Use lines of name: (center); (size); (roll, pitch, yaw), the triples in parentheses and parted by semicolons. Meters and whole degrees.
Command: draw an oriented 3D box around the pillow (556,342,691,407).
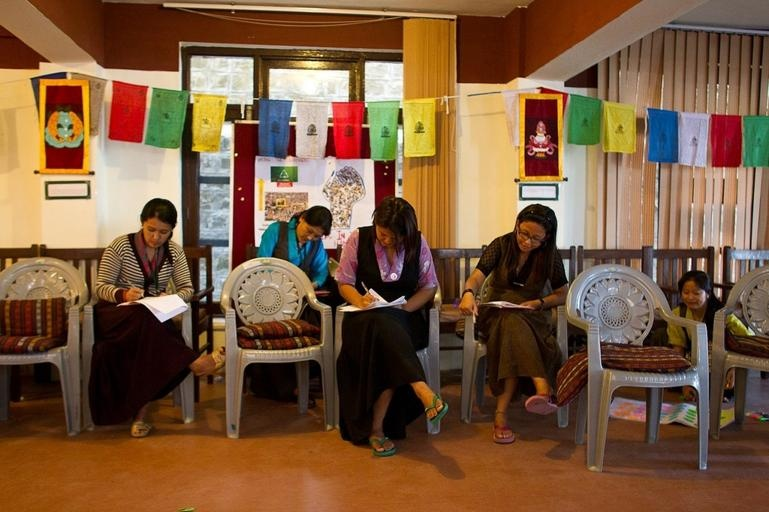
pillow: (1.583, 0.732, 4.470); (0.619, 0.208, 0.525); (-2, 8, 11)

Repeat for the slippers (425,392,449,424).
slippers: (0.344, 1.026, 4.386); (0.133, 0.207, 0.196); (1, 13, 3)

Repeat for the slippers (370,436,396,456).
slippers: (-0.006, 1.305, 4.488); (0.183, 0.104, 0.107); (0, 13, -3)

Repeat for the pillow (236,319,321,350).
pillow: (-0.778, 0.578, 4.836); (0.615, 0.149, 0.308); (-3, 14, -13)

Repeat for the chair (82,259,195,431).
chair: (-1.814, 0.570, 4.855); (0.737, 1.172, 0.543); (-4, 13, -17)

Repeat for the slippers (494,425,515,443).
slippers: (0.866, 1.268, 4.653); (0.171, 0.115, 0.117); (0, 13, 0)

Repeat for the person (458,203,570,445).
person: (0.962, 0.472, 4.836); (0.733, 1.668, 0.916); (4, 13, 16)

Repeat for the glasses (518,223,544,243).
glasses: (1.082, -0.171, 4.788); (0.121, 0.073, 0.164); (14, -17, 10)

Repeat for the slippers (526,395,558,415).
slippers: (1.057, 0.996, 4.448); (0.228, 0.130, 0.083); (-5, 44, 8)
